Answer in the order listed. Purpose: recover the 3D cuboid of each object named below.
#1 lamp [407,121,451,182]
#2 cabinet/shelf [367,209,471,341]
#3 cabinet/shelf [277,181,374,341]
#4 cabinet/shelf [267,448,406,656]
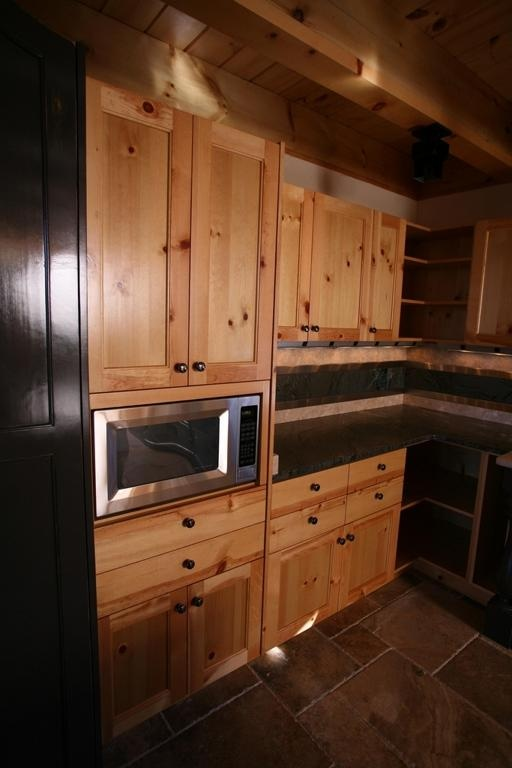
[{"bbox_3d":[0.729,-0.962,2.337,0.157,0.198,0.245,6,13,17],"label":"lamp"},{"bbox_3d":[1.032,-0.564,3.237,0.384,0.660,0.577,6,13,18],"label":"cabinet/shelf"},{"bbox_3d":[0.354,-0.560,2.545,0.239,0.632,0.679,-19,28,-36],"label":"cabinet/shelf"},{"bbox_3d":[0.315,0.687,2.286,0.718,0.663,0.340,-8,11,-39],"label":"cabinet/shelf"}]
